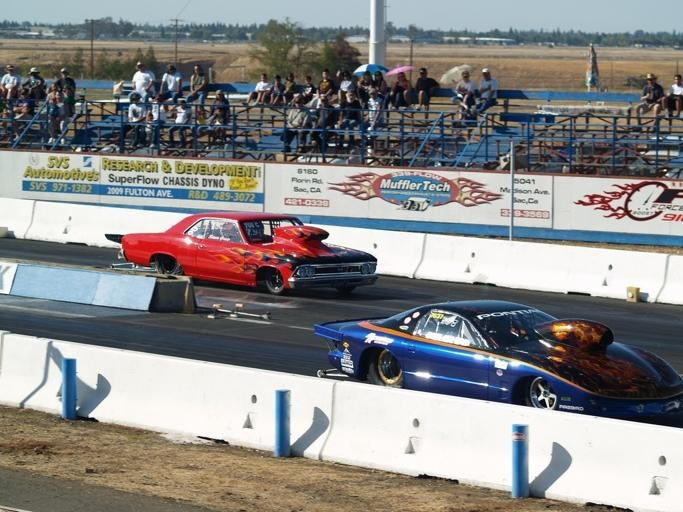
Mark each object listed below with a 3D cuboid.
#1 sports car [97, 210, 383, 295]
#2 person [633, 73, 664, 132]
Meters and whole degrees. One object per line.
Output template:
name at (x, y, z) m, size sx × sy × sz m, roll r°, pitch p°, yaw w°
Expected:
sports car at (-2.362, -0.097, 34.551) m, size 5.703 × 1.419 × 2.530 m, roll 6°, pitch 3°, yaw 34°
person at (8.224, -4.173, 41.833) m, size 0.726 × 1.405 × 0.891 m, roll 3°, pitch 12°, yaw 36°
